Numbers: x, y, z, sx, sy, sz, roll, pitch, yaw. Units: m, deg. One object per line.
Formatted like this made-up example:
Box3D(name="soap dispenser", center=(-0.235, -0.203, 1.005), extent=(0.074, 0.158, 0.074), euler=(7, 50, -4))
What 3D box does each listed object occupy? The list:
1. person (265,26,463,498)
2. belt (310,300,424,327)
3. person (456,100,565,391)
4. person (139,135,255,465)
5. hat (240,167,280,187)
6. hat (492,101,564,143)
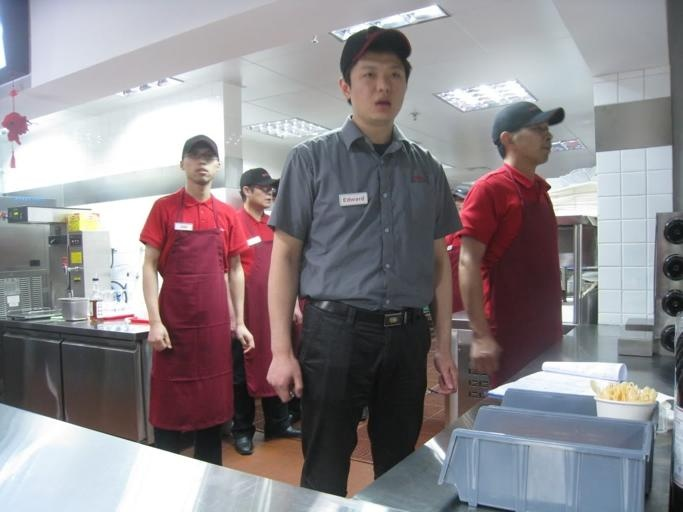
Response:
Box3D(name="person", center=(0.095, 0.122, 1.622), extent=(0.684, 1.185, 0.270), euler=(-4, 3, -27))
Box3D(name="belt", center=(0.074, 0.171, 1.510), extent=(0.146, 0.049, 0.148), euler=(16, -2, 23))
Box3D(name="person", center=(0.685, -0.072, 2.011), extent=(0.316, 1.113, 0.726), euler=(0, 4, 36))
Box3D(name="person", center=(-0.808, 0.183, 2.856), extent=(0.614, 1.743, 0.370), euler=(-4, 3, -32))
Box3D(name="hat", center=(-0.611, -0.568, 3.708), extent=(0.214, 0.110, 0.153), euler=(0, 3, -8))
Box3D(name="hat", center=(0.763, -0.577, 2.104), extent=(0.196, 0.147, 0.281), euler=(-10, 8, -32))
